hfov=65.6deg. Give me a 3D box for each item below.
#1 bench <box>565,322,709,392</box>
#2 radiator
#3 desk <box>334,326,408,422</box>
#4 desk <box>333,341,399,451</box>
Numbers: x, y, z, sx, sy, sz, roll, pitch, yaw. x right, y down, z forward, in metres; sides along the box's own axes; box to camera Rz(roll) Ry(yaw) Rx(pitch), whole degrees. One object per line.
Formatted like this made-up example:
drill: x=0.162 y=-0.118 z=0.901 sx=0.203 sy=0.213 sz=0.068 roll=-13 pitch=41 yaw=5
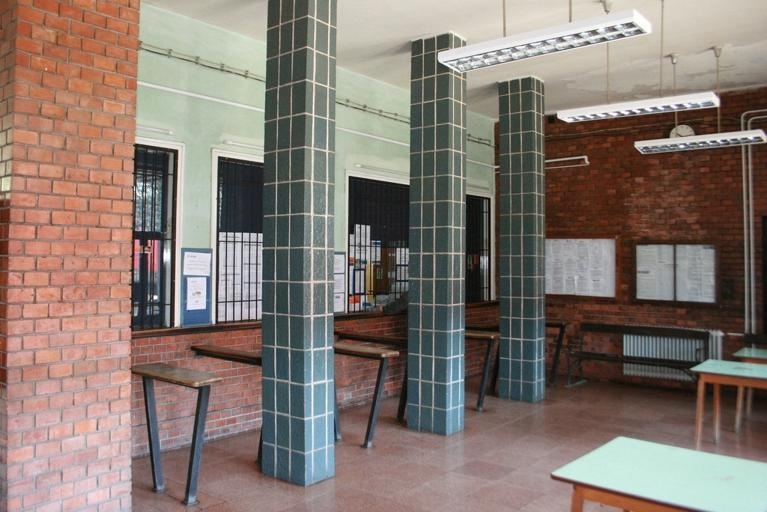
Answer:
bench: x=3.684 y=1.502 z=8.825 sx=0.690 sy=0.972 sz=2.032 roll=-3 pitch=0 yaw=-43
radiator: x=4.052 y=1.335 z=8.287 sx=1.042 sy=0.595 sz=0.375 roll=-2 pitch=-6 yaw=37
desk: x=-0.237 y=1.533 z=7.270 sx=0.363 sy=0.772 sz=1.048 roll=0 pitch=-2 yaw=-35
desk: x=-0.044 y=1.583 z=6.751 sx=0.416 sy=0.896 sz=1.144 roll=8 pitch=-10 yaw=19
